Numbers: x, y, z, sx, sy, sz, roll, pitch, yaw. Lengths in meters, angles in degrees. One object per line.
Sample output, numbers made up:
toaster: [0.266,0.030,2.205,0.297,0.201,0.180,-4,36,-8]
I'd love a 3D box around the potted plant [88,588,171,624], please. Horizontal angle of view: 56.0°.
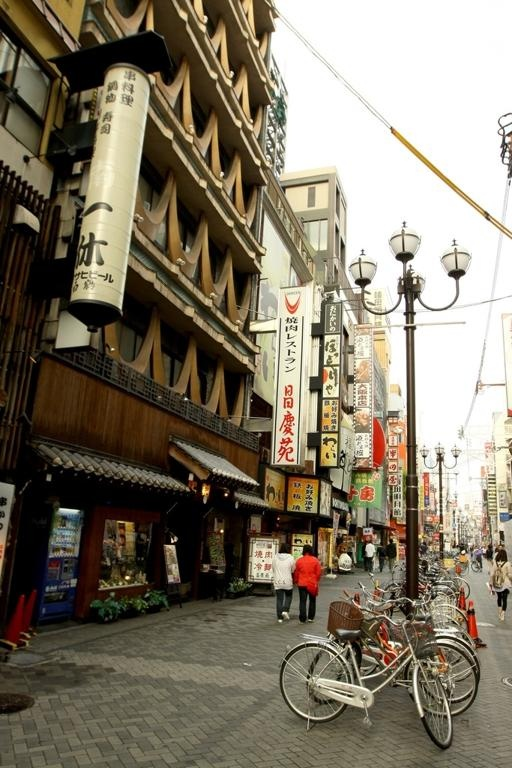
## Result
potted plant: [-2.809,4.875,10.645,0.603,0.574,1.485,-7,-22,25]

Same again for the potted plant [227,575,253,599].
potted plant: [-0.570,6.905,16.436,0.496,0.579,1.452,0,-14,16]

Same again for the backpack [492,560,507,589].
backpack: [6.853,5.391,13.621,0.469,0.743,0.305,-8,-17,41]
